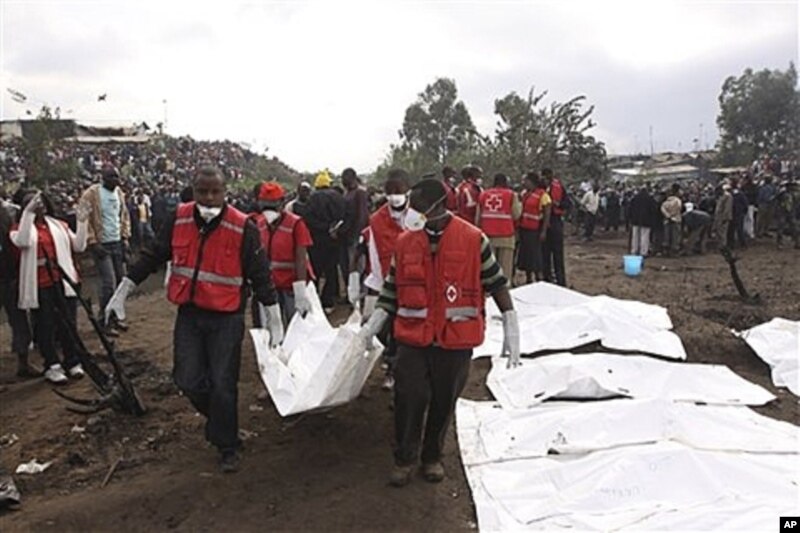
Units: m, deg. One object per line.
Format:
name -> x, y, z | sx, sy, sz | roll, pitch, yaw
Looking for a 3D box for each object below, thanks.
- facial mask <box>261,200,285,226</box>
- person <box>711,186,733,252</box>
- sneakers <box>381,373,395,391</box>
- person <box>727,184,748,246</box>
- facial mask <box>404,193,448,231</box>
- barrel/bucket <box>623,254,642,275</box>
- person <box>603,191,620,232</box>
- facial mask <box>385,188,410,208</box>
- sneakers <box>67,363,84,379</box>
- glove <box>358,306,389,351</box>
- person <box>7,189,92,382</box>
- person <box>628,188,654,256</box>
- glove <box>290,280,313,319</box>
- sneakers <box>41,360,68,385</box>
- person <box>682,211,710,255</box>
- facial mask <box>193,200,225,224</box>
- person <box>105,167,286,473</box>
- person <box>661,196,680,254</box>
facial mask -> -1.619, -0.687, 7.456 | 0.230, 0.197, 0.291 | -7, 18, 0
person -> 8.782, -1.371, 16.044 | 0.466, 1.733, 0.593 | -2, 18, 7
sneakers -> -0.148, 1.439, 7.259 | 0.136, 0.180, 0.394 | -4, -10, 7
person -> 9.376, -1.389, 16.218 | 0.432, 1.669, 1.372 | 3, 8, 30
facial mask -> 0.232, -0.489, 5.589 | 0.355, 0.195, 0.279 | -29, 14, -5
barrel/bucket -> 4.949, -0.014, 12.450 | 0.339, 0.414, 0.318 | -1, 7, 0
person -> 8.180, -2.135, 22.497 | 0.571, 1.536, 1.326 | 2, 7, 19
facial mask -> -0.020, -0.801, 6.667 | 0.173, 0.115, 0.199 | -1, 32, 14
sneakers -> -4.182, 1.354, 7.562 | 0.194, 0.245, 0.348 | 2, -18, -23
glove -> -0.286, 0.665, 5.951 | 0.157, 0.184, 0.623 | 27, -36, 0
person -> -4.324, 0.250, 7.305 | 0.805, 2.380, 0.748 | 1, 7, 12
person -> 6.127, -1.120, 14.854 | 0.568, 1.766, 1.012 | 2, 8, 22
glove -> -1.189, 0.381, 7.115 | 0.183, 0.440, 0.290 | -2, 7, -10
sneakers -> -4.292, 1.321, 7.286 | 0.175, 0.166, 0.356 | -2, 12, -44
person -> 7.785, -0.918, 15.430 | 0.649, 1.120, 0.576 | -1, 7, 2
facial mask -> -1.854, -0.529, 5.660 | 0.181, 0.114, 0.189 | 0, 29, -15
person -> -1.952, 0.504, 5.896 | 1.330, 2.998, 0.618 | 0, 7, 2
person -> 7.302, -1.147, 15.744 | 0.521, 1.549, 0.946 | 3, 8, 26
